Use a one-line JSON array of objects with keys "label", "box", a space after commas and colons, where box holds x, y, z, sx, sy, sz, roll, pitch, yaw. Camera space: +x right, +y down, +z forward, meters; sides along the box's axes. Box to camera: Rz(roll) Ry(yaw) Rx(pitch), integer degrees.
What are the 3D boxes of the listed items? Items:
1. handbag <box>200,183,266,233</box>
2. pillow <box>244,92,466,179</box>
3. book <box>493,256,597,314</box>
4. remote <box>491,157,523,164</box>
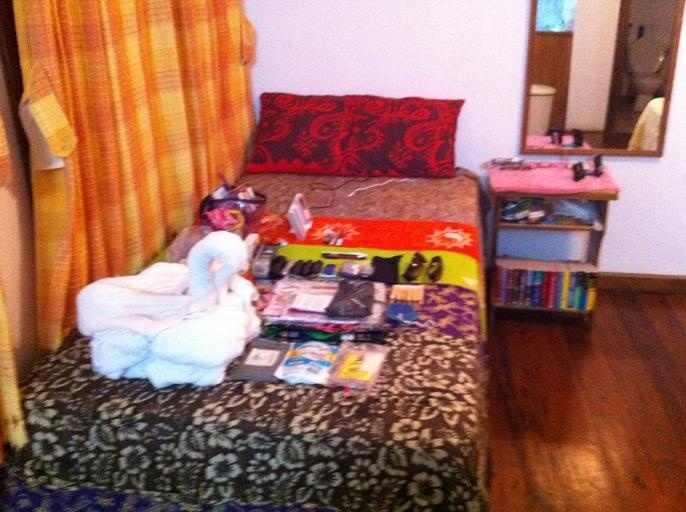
[{"label": "handbag", "box": [-0.446, -0.140, 2.197, 0.262, 0.120, 0.284, 5, -10, -6]}, {"label": "pillow", "box": [0.057, -0.685, 2.851, 1.438, 0.435, 0.251, -1, -10, 6]}, {"label": "book", "box": [1.066, 0.147, 2.791, 0.517, 0.227, 0.234, 6, 26, 11]}, {"label": "remote", "box": [0.924, -0.526, 2.906, 0.136, 0.027, 0.072, 2, 22, 8]}]
